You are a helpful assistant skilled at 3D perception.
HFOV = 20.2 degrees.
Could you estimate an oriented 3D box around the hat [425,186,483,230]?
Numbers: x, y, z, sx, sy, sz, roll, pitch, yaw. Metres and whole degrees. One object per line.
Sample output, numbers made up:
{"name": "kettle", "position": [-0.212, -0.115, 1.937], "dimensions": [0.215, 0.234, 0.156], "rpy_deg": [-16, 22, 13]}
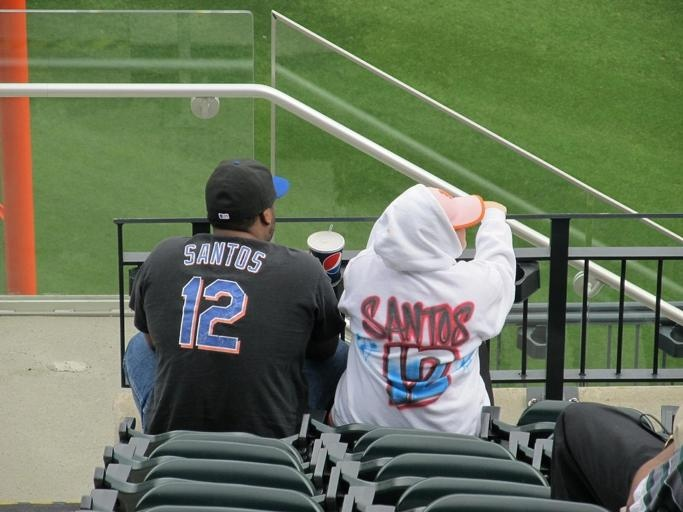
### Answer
{"name": "hat", "position": [0.808, -0.373, 13.517], "dimensions": [0.284, 0.132, 0.411], "rpy_deg": [32, 3, -15]}

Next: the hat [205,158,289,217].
{"name": "hat", "position": [-0.651, -0.505, 13.639], "dimensions": [0.533, 0.334, 0.723], "rpy_deg": [3, 21, 34]}
